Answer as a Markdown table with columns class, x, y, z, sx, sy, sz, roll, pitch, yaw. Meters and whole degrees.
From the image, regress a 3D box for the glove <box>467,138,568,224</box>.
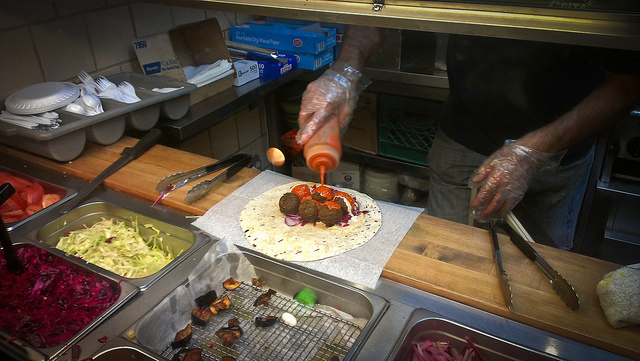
| class | x | y | z | sx | sy | sz | roll | pitch | yaw |
| --- | --- | --- | --- | --- | --- | --- | --- | --- | --- |
| glove | 0.846 | -0.010 | 1.805 | 0.326 | 0.497 | 0.135 | 24 | 18 | -19 |

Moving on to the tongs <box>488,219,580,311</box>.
| class | x | y | z | sx | sy | sz | roll | pitch | yaw |
| --- | --- | --- | --- | --- | --- | --- | --- | --- | --- |
| tongs | 0.838 | 0.328 | 1.523 | 0.287 | 0.131 | 0.407 | 5 | 34 | 0 |

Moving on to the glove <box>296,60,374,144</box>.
| class | x | y | z | sx | sy | sz | roll | pitch | yaw |
| --- | --- | --- | --- | --- | --- | --- | --- | --- | --- |
| glove | 0.048 | -0.421 | 1.928 | 0.270 | 0.509 | 0.645 | 3 | 4 | 13 |

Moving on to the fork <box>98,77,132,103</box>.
| class | x | y | z | sx | sy | sz | roll | pitch | yaw |
| --- | --- | --- | --- | --- | --- | --- | --- | --- | --- |
| fork | -1.177 | -0.512 | 2.143 | 0.298 | 0.035 | 0.042 | 39 | 70 | 19 |

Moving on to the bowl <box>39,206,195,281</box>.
| class | x | y | z | sx | sy | sz | roll | pitch | yaw |
| --- | --- | --- | --- | --- | --- | --- | --- | --- | --- |
| bowl | -0.945 | 0.279 | 1.723 | 0.613 | 0.143 | 0.329 | 20 | 41 | 19 |

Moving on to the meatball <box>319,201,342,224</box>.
| class | x | y | z | sx | sy | sz | roll | pitch | yaw |
| --- | --- | --- | --- | --- | --- | --- | --- | --- | --- |
| meatball | 0.046 | 0.149 | 1.751 | 0.094 | 0.090 | 0.094 | -1 | 5 | 6 |

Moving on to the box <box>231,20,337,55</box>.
| class | x | y | z | sx | sy | sz | roll | pitch | yaw |
| --- | --- | --- | --- | --- | --- | --- | --- | --- | --- |
| box | -0.311 | -1.165 | 3.024 | 0.803 | 0.150 | 0.352 | 16 | 36 | 19 |

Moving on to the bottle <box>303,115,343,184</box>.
| class | x | y | z | sx | sy | sz | roll | pitch | yaw |
| --- | --- | --- | --- | --- | --- | --- | --- | --- | --- |
| bottle | 0.010 | -0.136 | 1.862 | 0.174 | 0.266 | 0.359 | 6 | 34 | 1 |

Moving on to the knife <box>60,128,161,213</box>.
| class | x | y | z | sx | sy | sz | roll | pitch | yaw |
| --- | --- | --- | --- | --- | --- | --- | --- | --- | --- |
| knife | -1.004 | -0.121 | 2.034 | 0.128 | 0.065 | 0.865 | 15 | 35 | 15 |

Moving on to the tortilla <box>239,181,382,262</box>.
| class | x | y | z | sx | sy | sz | roll | pitch | yaw |
| --- | --- | --- | --- | --- | --- | --- | --- | --- | --- |
| tortilla | -0.050 | 0.182 | 1.748 | 0.655 | 0.092 | 0.469 | 7 | 34 | 4 |

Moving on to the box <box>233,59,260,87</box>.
| class | x | y | z | sx | sy | sz | roll | pitch | yaw |
| --- | --- | --- | --- | --- | --- | --- | --- | --- | --- |
| box | -0.525 | -0.775 | 2.664 | 0.168 | 0.111 | 0.237 | 23 | 41 | 31 |

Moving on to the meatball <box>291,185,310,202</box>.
| class | x | y | z | sx | sy | sz | roll | pitch | yaw |
| --- | --- | --- | --- | --- | --- | --- | --- | --- | --- |
| meatball | -0.091 | 0.061 | 1.802 | 0.066 | 0.042 | 0.078 | -2 | 10 | -32 |

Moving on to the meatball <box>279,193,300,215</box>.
| class | x | y | z | sx | sy | sz | roll | pitch | yaw |
| --- | --- | --- | --- | --- | --- | --- | --- | --- | --- |
| meatball | -0.146 | 0.110 | 1.792 | 0.095 | 0.087 | 0.046 | 26 | 0 | 1 |

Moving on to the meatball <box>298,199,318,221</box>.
| class | x | y | z | sx | sy | sz | roll | pitch | yaw |
| --- | --- | --- | --- | --- | --- | --- | --- | --- | --- |
| meatball | -0.059 | 0.133 | 1.721 | 0.085 | 0.087 | 0.054 | -11 | 2 | 3 |

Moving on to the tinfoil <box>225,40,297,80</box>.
| class | x | y | z | sx | sy | sz | roll | pitch | yaw |
| --- | --- | --- | --- | --- | --- | --- | --- | --- | --- |
| tinfoil | -0.434 | -0.877 | 2.757 | 0.451 | 0.153 | 0.332 | 12 | 35 | 22 |

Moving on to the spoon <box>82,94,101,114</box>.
| class | x | y | z | sx | sy | sz | roll | pitch | yaw |
| --- | --- | --- | --- | --- | --- | --- | --- | --- | --- |
| spoon | -1.213 | -0.417 | 2.024 | 0.147 | 0.050 | 0.058 | 36 | 47 | 29 |

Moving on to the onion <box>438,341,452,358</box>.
| class | x | y | z | sx | sy | sz | roll | pitch | yaw |
| --- | --- | --- | --- | --- | --- | --- | --- | --- | --- |
| onion | 0.444 | 0.621 | 1.367 | 0.023 | 0.018 | 0.060 | -19 | 41 | -31 |

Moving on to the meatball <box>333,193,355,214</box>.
| class | x | y | z | sx | sy | sz | roll | pitch | yaw |
| --- | --- | --- | --- | --- | --- | --- | --- | --- | --- |
| meatball | 0.107 | 0.109 | 1.805 | 0.082 | 0.052 | 0.097 | 11 | 13 | -24 |

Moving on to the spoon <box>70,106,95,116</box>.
| class | x | y | z | sx | sy | sz | roll | pitch | yaw |
| --- | --- | --- | --- | --- | --- | --- | --- | --- | --- |
| spoon | -1.248 | -0.386 | 1.983 | 0.089 | 0.033 | 0.064 | 26 | -13 | -19 |

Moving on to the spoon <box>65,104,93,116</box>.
| class | x | y | z | sx | sy | sz | roll | pitch | yaw |
| --- | --- | --- | --- | --- | --- | --- | --- | --- | --- |
| spoon | -1.269 | -0.372 | 1.996 | 0.113 | 0.052 | 0.068 | 24 | -11 | -25 |

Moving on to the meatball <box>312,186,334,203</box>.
| class | x | y | z | sx | sy | sz | roll | pitch | yaw |
| --- | --- | --- | --- | --- | --- | --- | --- | --- | --- |
| meatball | 0.002 | 0.065 | 1.791 | 0.077 | 0.047 | 0.081 | 9 | 23 | 18 |

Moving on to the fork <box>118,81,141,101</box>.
| class | x | y | z | sx | sy | sz | roll | pitch | yaw |
| --- | --- | --- | --- | --- | --- | --- | --- | --- | --- |
| fork | -1.108 | -0.508 | 2.187 | 0.197 | 0.024 | 0.054 | 41 | 65 | 13 |

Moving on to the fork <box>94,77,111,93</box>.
| class | x | y | z | sx | sy | sz | roll | pitch | yaw |
| --- | --- | --- | --- | --- | --- | --- | --- | --- | --- |
| fork | -1.236 | -0.543 | 2.137 | 0.044 | 0.015 | 0.095 | -36 | 68 | -22 |
